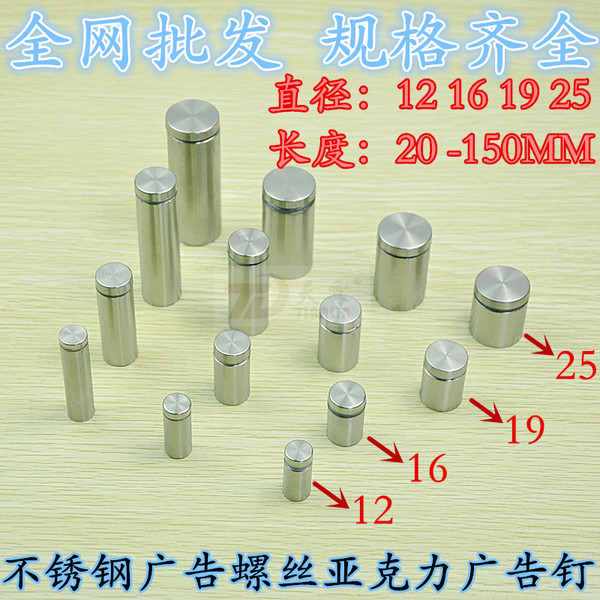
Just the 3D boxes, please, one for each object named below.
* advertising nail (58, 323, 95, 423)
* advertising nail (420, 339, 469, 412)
[{"bbox_3d":[-0.357,0.126,1.270,0.044,0.135,0.043,1,15,8],"label":"advertising nail"},{"bbox_3d":[0.242,0.140,1.326,0.061,0.084,0.057,13,31,20],"label":"advertising nail"}]
